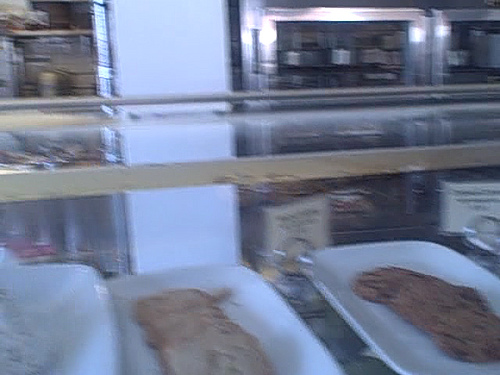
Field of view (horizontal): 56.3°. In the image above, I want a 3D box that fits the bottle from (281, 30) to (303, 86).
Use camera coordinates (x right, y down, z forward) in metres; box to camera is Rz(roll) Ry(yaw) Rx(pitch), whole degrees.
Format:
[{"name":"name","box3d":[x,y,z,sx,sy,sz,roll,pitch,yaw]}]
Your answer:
[{"name":"bottle","box3d":[0.126,-0.384,1.388,0.076,0.170,0.055,8,19,26]}]
